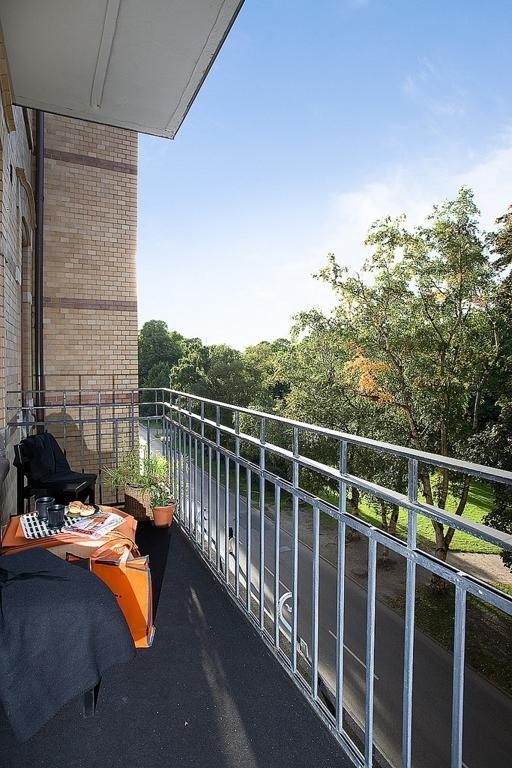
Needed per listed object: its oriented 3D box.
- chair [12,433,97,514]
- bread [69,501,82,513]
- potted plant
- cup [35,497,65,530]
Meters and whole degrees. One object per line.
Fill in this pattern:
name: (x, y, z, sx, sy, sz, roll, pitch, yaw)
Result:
chair: (-1.786, 0.955, 4.299, 0.509, 1.062, 0.709, -2, 0, -1)
bread: (-1.002, 0.681, 2.650, 0.046, 0.027, 0.071, 7, 1, -3)
potted plant: (-1.078, 1.038, 4.856, 0.544, 0.971, 0.738, -3, 5, -39)
cup: (-1.048, 0.649, 2.429, 0.126, 0.162, 0.122, 0, 4, 0)
